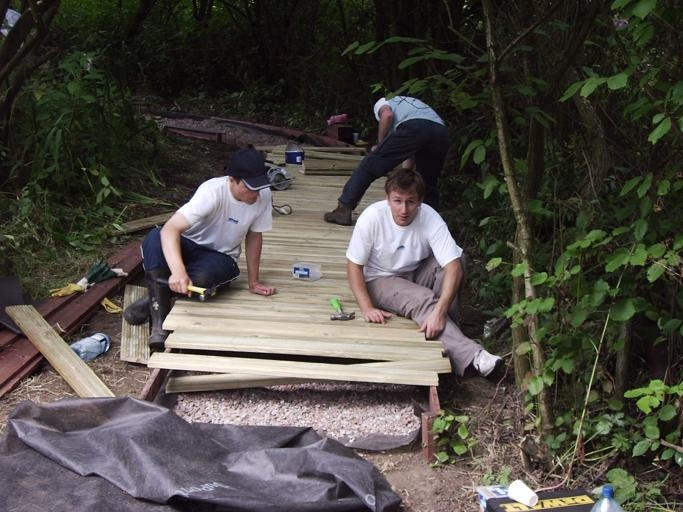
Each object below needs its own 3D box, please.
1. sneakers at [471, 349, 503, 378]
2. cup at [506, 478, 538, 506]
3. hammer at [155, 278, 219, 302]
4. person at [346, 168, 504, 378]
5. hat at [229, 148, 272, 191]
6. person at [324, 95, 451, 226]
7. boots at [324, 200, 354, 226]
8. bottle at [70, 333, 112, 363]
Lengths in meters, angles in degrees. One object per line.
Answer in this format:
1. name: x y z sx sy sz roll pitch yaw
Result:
1. sneakers: 0.918 0.698 3.913 0.121 0.099 0.232 -37 6 -13
2. cup: 0.881 1.150 2.962 0.112 0.096 0.114 24 -1 1
3. hammer: -1.083 0.259 4.229 0.331 0.072 0.186 10 12 22
4. person: 0.614 0.157 4.423 0.917 1.113 1.389 -18 49 -11
5. hat: -0.586 -0.583 4.139 0.337 0.157 0.230 33 39 29
6. person: 0.522 -0.943 5.677 1.140 1.269 0.825 6 -9 -22
7. boots: -0.024 -0.414 5.995 0.339 0.201 0.163 23 31 39
8. bottle: -1.759 0.658 4.269 0.161 0.133 0.417 -8 -1 20
